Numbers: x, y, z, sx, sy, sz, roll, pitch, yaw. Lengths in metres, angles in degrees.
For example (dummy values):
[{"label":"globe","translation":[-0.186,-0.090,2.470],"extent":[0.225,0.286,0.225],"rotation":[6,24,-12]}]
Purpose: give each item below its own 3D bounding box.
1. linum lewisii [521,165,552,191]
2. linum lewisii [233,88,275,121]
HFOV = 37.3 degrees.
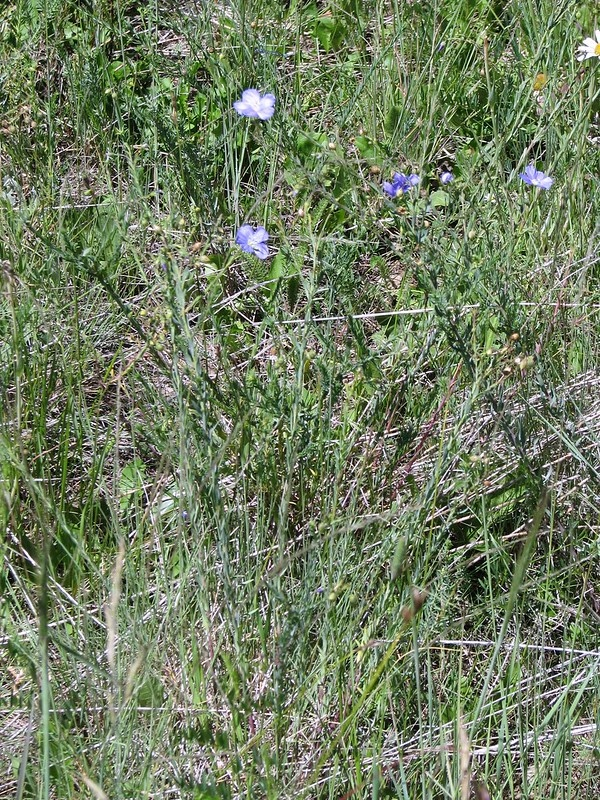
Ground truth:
[{"label":"linum lewisii","translation":[0.518,-0.488,1.952],"extent":[0.057,0.026,0.076],"rotation":[27,61,0]},{"label":"linum lewisii","translation":[-0.102,-0.633,1.911],"extent":[0.075,0.039,0.093],"rotation":[24,60,27]}]
